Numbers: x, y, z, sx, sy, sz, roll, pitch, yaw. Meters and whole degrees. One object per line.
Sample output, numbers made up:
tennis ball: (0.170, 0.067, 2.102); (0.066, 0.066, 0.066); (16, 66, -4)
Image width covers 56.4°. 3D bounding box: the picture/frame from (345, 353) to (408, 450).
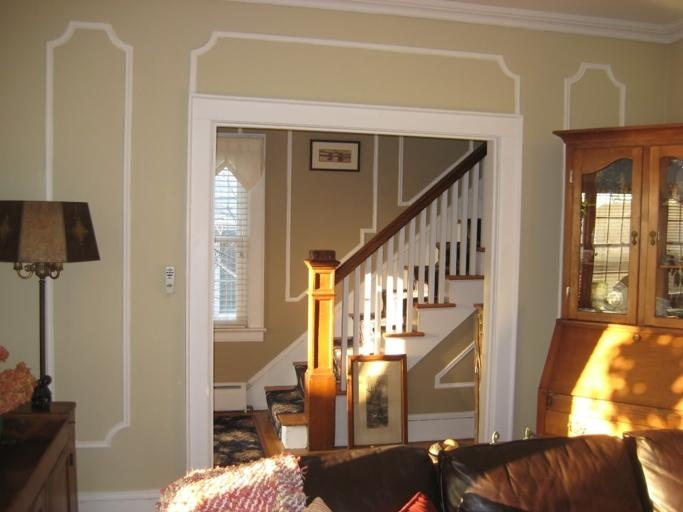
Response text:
picture/frame: (0.252, 1.133, 4.869); (0.638, 0.977, 0.064); (1, -6, -17)
